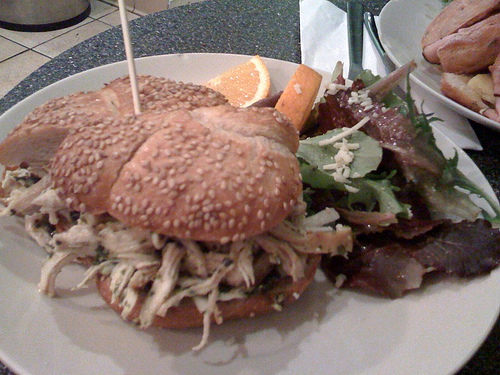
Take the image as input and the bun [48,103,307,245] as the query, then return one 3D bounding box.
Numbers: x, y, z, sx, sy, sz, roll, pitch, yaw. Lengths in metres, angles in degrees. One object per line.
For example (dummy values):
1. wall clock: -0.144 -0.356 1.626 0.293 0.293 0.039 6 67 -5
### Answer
1. bun: -0.174 -0.042 1.015 0.458 0.129 0.443 27 39 35
